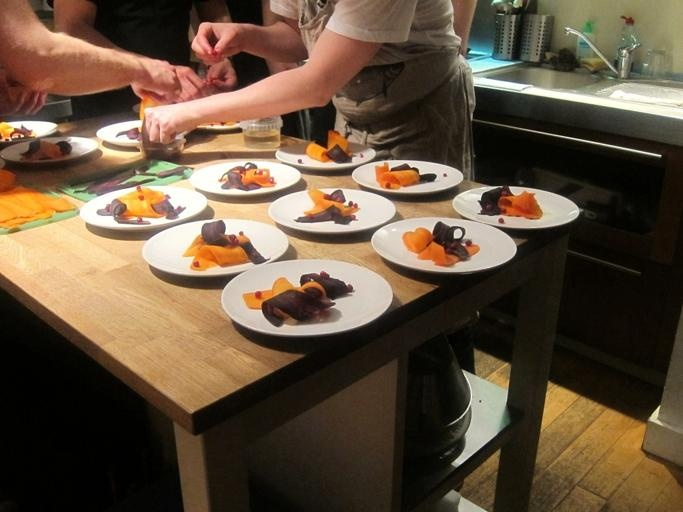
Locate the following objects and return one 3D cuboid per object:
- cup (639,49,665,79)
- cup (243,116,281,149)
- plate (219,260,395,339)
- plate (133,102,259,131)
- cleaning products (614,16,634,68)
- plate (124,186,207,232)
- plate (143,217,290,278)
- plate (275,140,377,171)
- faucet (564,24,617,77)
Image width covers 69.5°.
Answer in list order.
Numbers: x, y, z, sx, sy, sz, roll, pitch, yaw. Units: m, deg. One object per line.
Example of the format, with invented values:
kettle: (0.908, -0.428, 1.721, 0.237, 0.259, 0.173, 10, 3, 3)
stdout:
cup: (1.621, -1.011, 2.579, 0.119, 0.131, 0.079, 15, 32, 29)
cup: (-0.281, -0.436, 1.725, 0.125, 0.077, 0.119, -1, 20, 0)
plate: (-0.061, 0.076, 0.886, 0.293, 0.055, 0.230, -9, 27, -15)
plate: (-0.460, -0.440, 1.532, 0.254, 0.056, 0.142, -2, 24, -7)
cleaning products: (1.507, -1.164, 2.608, 0.102, 0.207, 0.159, 10, 30, 21)
plate: (-0.429, -0.138, 1.257, 0.157, 0.025, 0.150, 7, 29, 8)
plate: (-0.288, -0.016, 1.039, 0.192, 0.021, 0.190, 18, 29, 32)
plate: (-0.052, -0.325, 1.593, 0.165, 0.018, 0.166, 19, 31, 32)
faucet: (1.375, -1.140, 2.723, 0.290, 0.229, 0.266, 9, 29, 20)
